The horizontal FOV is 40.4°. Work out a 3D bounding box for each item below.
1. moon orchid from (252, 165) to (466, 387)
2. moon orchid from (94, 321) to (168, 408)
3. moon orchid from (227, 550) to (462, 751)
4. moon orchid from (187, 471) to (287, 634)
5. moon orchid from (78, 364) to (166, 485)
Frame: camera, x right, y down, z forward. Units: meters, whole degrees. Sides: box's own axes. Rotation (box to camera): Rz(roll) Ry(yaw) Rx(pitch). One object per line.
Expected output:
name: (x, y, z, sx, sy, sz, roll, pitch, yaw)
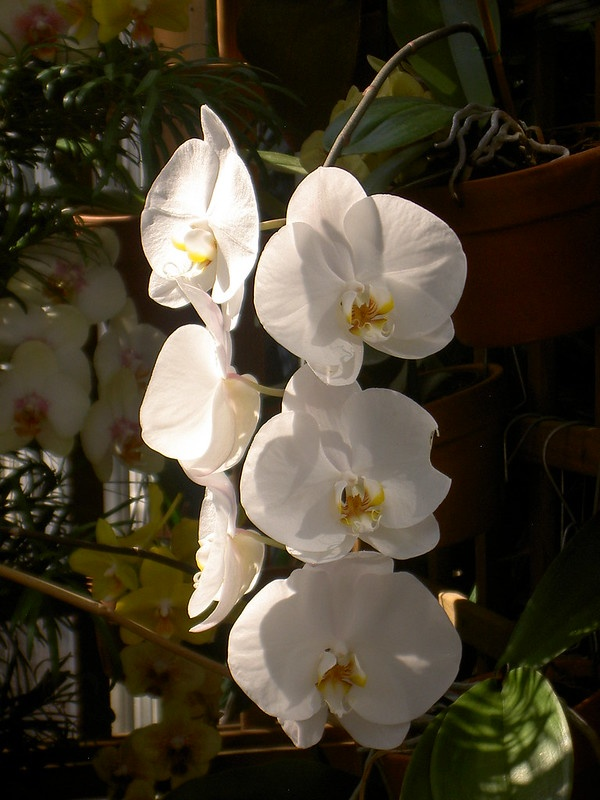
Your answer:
moon orchid: (0.034, -0.059, 0.443, 0.112, 0.104, 0.037, 31, 13, 22)
moon orchid: (-0.183, -0.030, 0.855, 0.086, 0.081, 0.026, 10, -21, -32)
moon orchid: (0.021, 0.134, 0.483, 0.134, 0.122, 0.055, -15, 1, -5)
moon orchid: (-0.041, 0.094, 0.530, 0.071, 0.098, 0.075, -4, 1, -20)
moon orchid: (-0.189, 0.023, 0.808, 0.098, 0.105, 0.043, 0, 1, -7)
